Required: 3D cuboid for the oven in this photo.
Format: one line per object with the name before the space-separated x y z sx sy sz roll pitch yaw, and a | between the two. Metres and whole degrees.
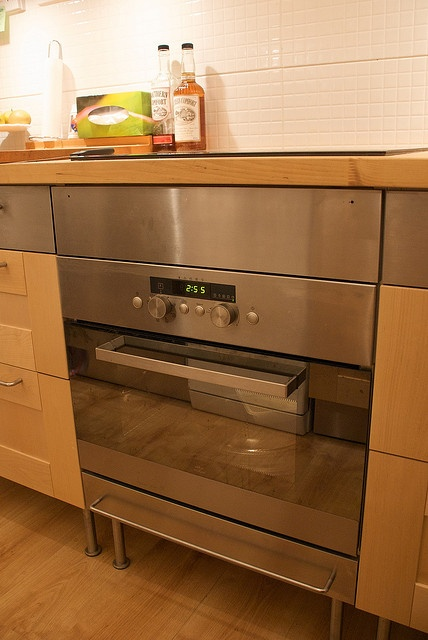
oven | 0.013 0.107 1.085 0.747 0.731 0.520 9 21 27
